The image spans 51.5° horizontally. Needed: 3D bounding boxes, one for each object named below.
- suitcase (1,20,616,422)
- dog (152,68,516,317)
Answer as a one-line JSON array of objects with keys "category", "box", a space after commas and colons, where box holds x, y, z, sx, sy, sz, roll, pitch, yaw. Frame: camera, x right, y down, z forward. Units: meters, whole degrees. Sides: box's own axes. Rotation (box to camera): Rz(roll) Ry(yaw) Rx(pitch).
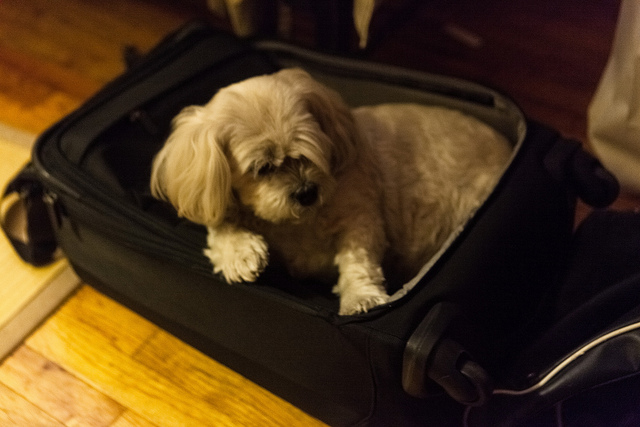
[{"category": "suitcase", "box": [-0.146, 0.175, 2.992, 2.297, 0.861, 1.507, 24, 51, 24]}, {"category": "dog", "box": [0.099, -0.134, 2.676, 1.232, 0.535, 0.966, -13, 38, -30]}]
